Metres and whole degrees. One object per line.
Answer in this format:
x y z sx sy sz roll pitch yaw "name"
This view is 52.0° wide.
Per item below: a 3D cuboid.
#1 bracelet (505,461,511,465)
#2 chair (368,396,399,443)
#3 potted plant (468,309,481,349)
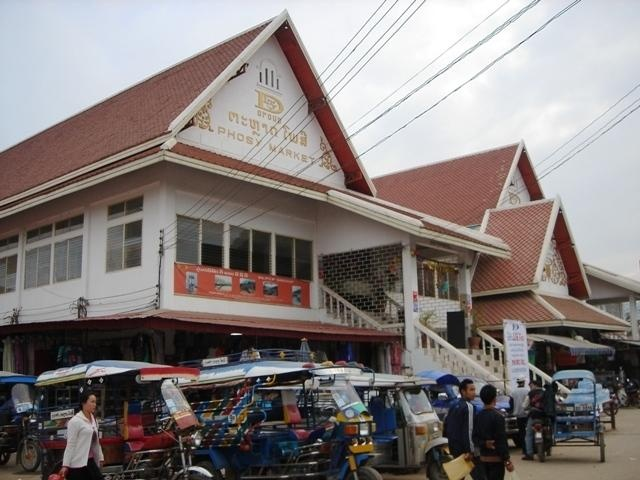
2.787 3.305 9.745 0.083 0.076 0.029 1 -3 7 "bracelet"
1.365 3.835 13.902 0.799 0.838 0.788 8 -4 -1 "chair"
5.323 3.100 22.945 0.425 1.511 1.109 -8 -18 12 "potted plant"
